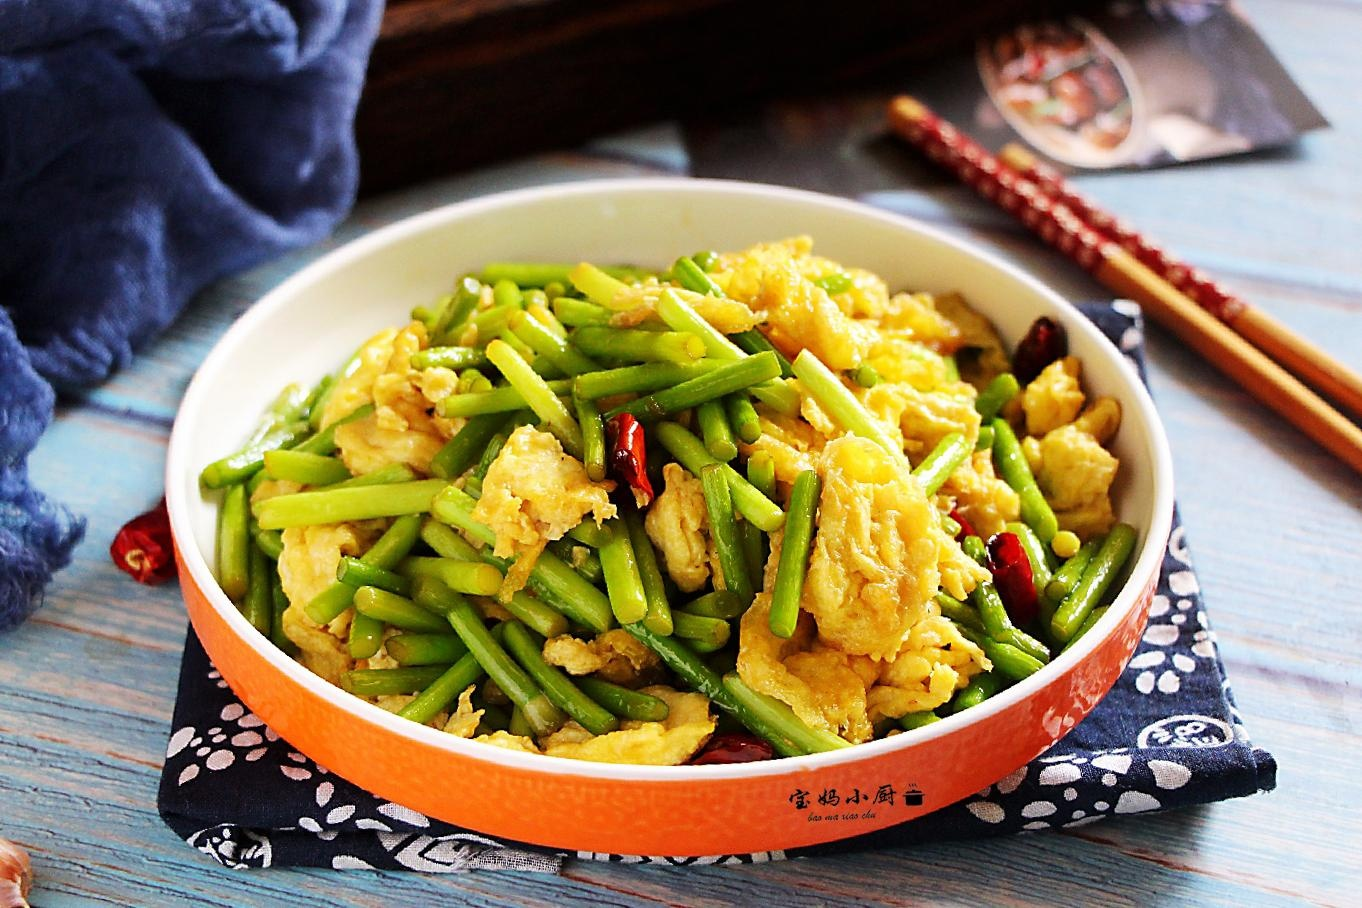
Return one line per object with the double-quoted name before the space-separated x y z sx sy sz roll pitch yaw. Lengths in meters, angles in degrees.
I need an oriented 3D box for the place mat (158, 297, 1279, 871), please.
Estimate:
"place mat" 0.161 0.459 2.702 1.436 1.469 0.750 8 -68 23
